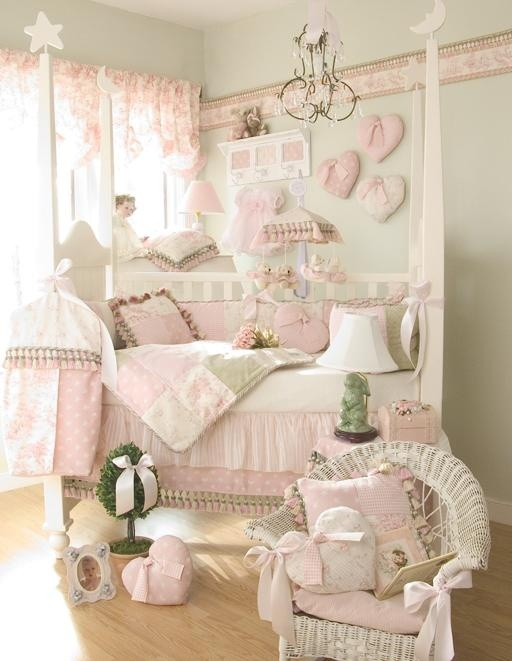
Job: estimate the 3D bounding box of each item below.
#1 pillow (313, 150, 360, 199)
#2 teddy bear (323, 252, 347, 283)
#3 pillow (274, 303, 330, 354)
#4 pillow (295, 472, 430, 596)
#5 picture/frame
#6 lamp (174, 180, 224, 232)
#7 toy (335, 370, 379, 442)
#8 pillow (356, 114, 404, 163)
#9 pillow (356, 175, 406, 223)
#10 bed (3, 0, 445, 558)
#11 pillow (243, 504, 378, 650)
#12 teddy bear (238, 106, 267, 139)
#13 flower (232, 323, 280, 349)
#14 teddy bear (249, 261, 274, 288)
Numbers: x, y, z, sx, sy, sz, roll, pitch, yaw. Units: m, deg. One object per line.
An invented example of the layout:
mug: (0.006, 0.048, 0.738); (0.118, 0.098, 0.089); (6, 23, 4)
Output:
pillow: (0.442, -0.898, 3.367); (0.071, 0.206, 0.220); (21, -10, 47)
teddy bear: (0.361, -0.284, 2.634); (0.124, 0.112, 0.110); (-5, 10, -13)
pillow: (0.162, -0.016, 2.604); (0.239, 0.067, 0.212); (-35, 26, -24)
pillow: (0.268, 0.487, 1.394); (0.261, 0.236, 0.081); (-4, -21, -24)
picture/frame: (-0.538, 0.790, 1.841); (0.188, 0.217, 0.033); (-11, 1, -32)
lamp: (-0.384, -0.773, 3.836); (0.315, 0.403, 0.258); (2, 3, -11)
toy: (0.318, 0.227, 1.740); (0.155, 0.201, 0.109); (-2, 4, -39)
pillow: (0.662, -1.036, 3.108); (0.280, 0.252, 0.062); (13, 15, 39)
pillow: (0.676, -0.712, 3.110); (0.266, 0.227, 0.089); (5, 6, 39)
bed: (0.069, -0.228, 2.680); (1.543, 2.058, 1.654); (1, 3, 18)
pillow: (0.128, 0.492, 1.235); (0.287, 0.263, 0.081); (-8, -39, 3)
teddy bear: (-0.031, -1.371, 3.789); (0.220, 0.206, 0.092); (-9, 7, 17)
flower: (-0.004, 0.012, 2.315); (0.138, 0.070, 0.118); (5, 6, 31)
teddy bear: (0.027, -0.266, 2.767); (0.108, 0.124, 0.059); (4, 30, 5)
